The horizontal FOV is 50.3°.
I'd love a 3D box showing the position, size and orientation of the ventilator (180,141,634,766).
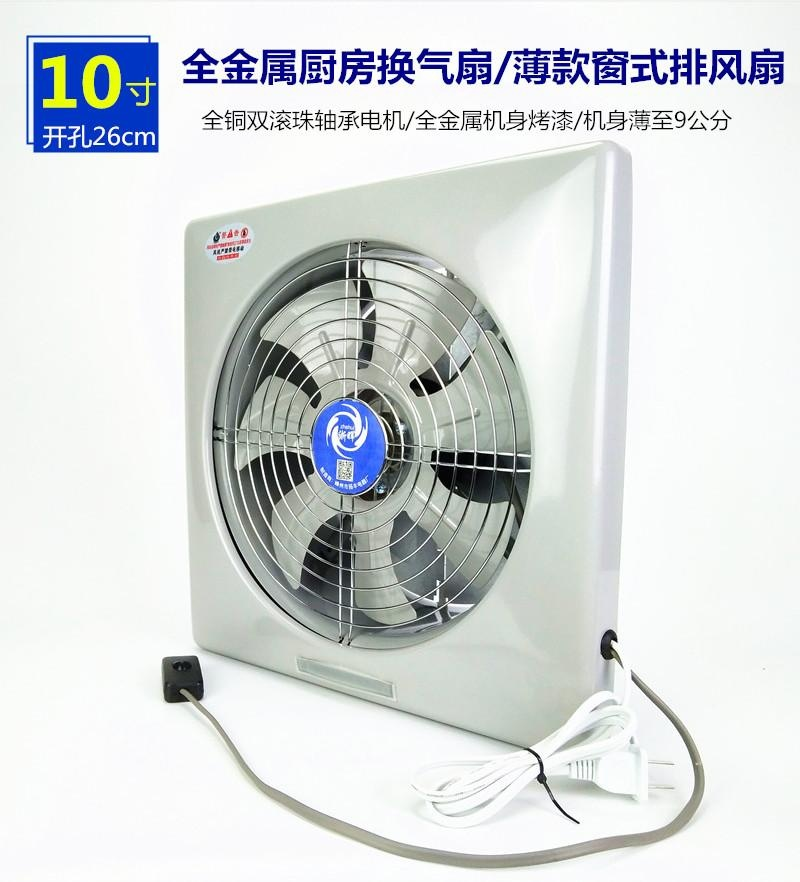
[{"bbox_3d":[0.048,0.066,1.948,1.228,1.261,0.439,7,12,36],"label":"ventilator"}]
